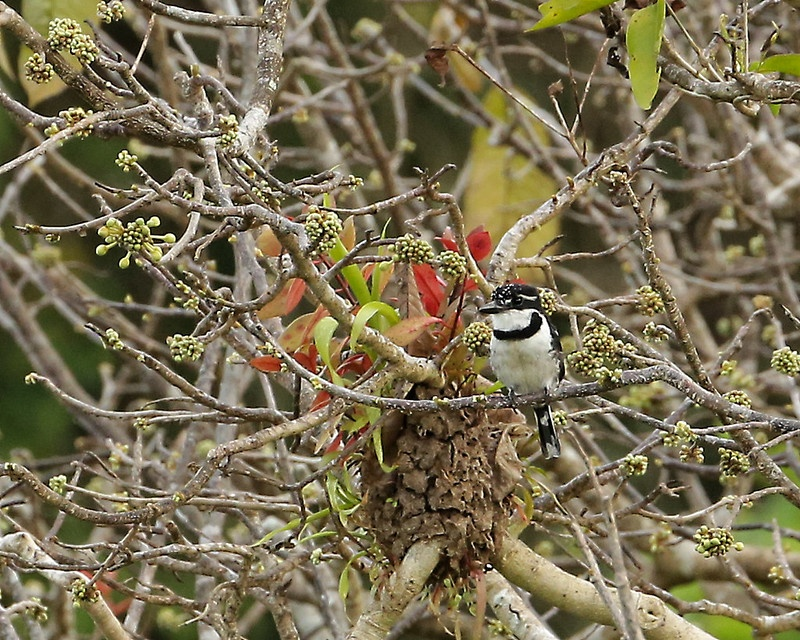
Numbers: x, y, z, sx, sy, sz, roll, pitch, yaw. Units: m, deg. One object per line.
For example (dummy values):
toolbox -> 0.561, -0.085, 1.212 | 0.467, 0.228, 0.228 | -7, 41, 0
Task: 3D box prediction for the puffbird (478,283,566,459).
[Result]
puffbird -> 0.550, 0.156, 4.760 | 0.290, 0.961, 0.418 | -10, 46, 13
